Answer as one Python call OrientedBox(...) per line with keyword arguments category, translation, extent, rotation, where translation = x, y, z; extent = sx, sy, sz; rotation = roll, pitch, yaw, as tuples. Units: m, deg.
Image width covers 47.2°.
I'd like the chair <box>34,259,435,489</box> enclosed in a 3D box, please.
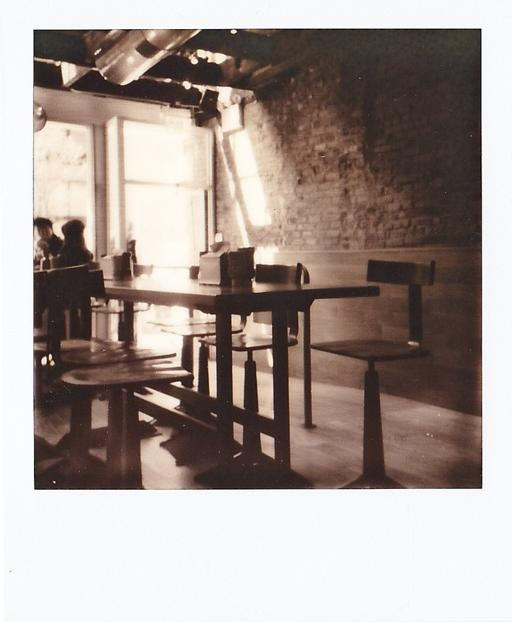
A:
OrientedBox(category="chair", translation=(-0.192, 0.283, 2.075), extent=(1.360, 0.838, 0.691), rotation=(1, 5, 14))
